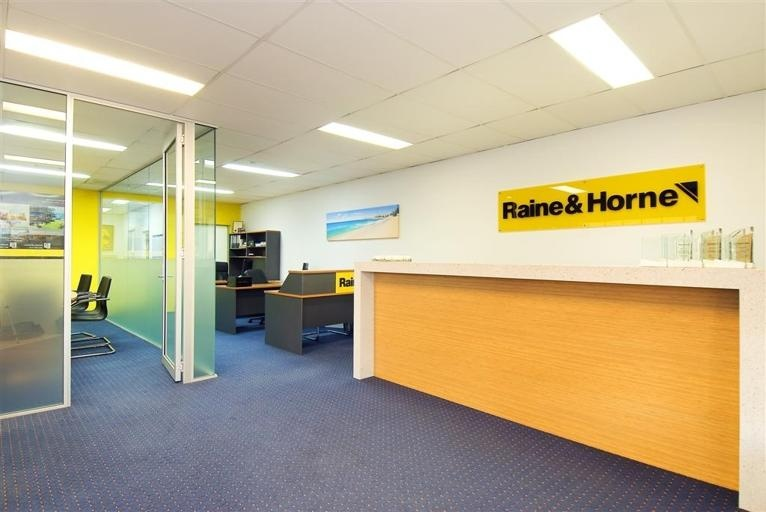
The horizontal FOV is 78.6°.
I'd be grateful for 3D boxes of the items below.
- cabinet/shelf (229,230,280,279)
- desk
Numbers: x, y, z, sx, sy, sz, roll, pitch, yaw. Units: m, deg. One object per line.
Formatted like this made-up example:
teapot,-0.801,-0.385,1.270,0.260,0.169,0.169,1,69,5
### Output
cabinet/shelf,-2.943,-0.016,10.924,1.168,1.083,0.314,-3,-7,44
desk,-1.436,0.755,7.404,1.560,0.821,1.582,2,2,45
